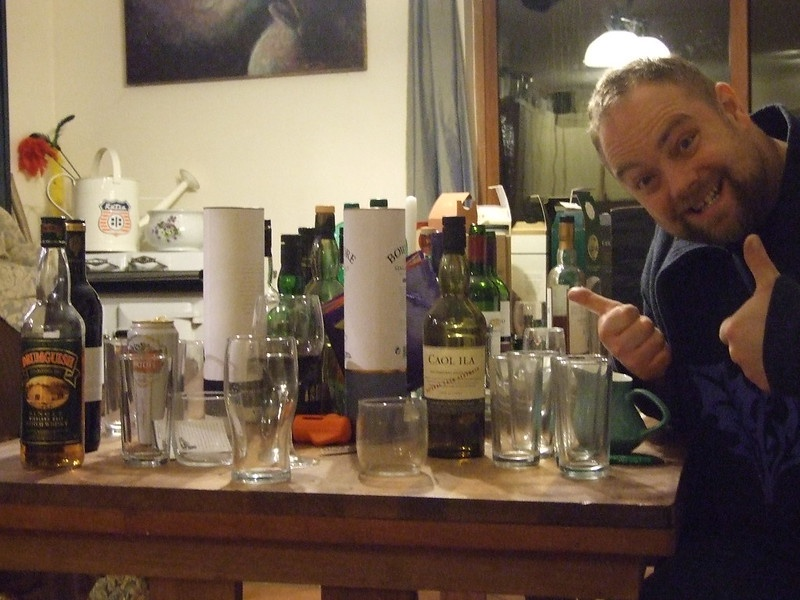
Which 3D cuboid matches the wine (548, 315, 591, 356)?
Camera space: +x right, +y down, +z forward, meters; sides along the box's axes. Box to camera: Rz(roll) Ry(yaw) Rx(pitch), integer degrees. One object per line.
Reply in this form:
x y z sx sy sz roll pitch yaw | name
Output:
0.381 0.078 1.903 0.075 0.148 0.085 -1 -1 1 | wine

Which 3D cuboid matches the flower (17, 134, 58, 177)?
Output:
-1.799 -0.712 4.144 0.174 0.209 0.169 -6 5 -24 | flower
